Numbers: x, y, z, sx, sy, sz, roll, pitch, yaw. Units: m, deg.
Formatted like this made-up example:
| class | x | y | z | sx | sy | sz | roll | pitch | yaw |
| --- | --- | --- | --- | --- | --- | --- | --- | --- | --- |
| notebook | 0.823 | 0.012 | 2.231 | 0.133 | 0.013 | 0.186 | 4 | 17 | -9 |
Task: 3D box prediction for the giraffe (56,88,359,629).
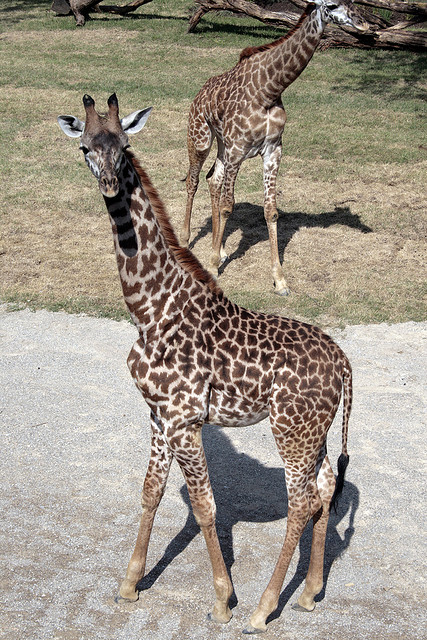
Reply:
| class | x | y | z | sx | sy | sz | roll | pitch | yaw |
| --- | --- | --- | --- | --- | --- | --- | --- | --- | --- |
| giraffe | 0.018 | 0.220 | 6.147 | 1.558 | 3.102 | 1.658 | -7 | 27 | -8 |
